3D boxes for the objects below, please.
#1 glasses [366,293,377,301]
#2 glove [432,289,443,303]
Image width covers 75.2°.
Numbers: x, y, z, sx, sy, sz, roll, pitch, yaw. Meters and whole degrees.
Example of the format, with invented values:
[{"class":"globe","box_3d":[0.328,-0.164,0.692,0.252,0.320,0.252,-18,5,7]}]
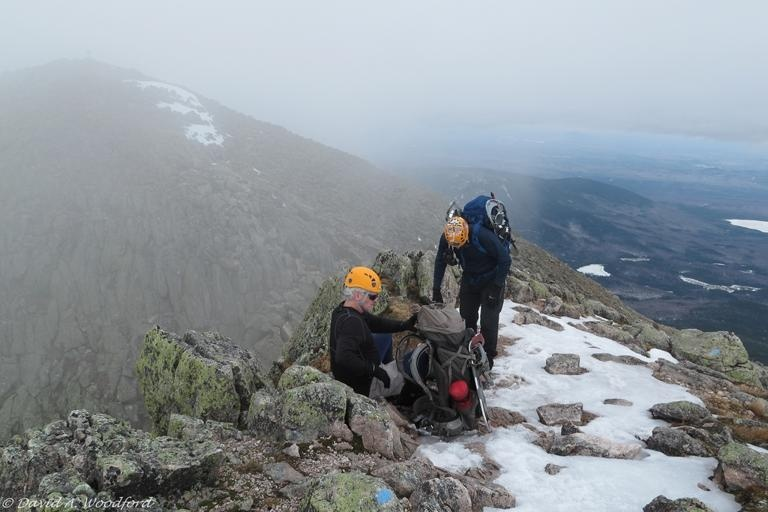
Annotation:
[{"class":"glasses","box_3d":[-0.341,1.108,13.509,0.170,0.186,0.082,2,-10,-14]},{"class":"glove","box_3d":[1.755,1.285,16.127,0.405,0.415,0.392,0,10,-17]}]
